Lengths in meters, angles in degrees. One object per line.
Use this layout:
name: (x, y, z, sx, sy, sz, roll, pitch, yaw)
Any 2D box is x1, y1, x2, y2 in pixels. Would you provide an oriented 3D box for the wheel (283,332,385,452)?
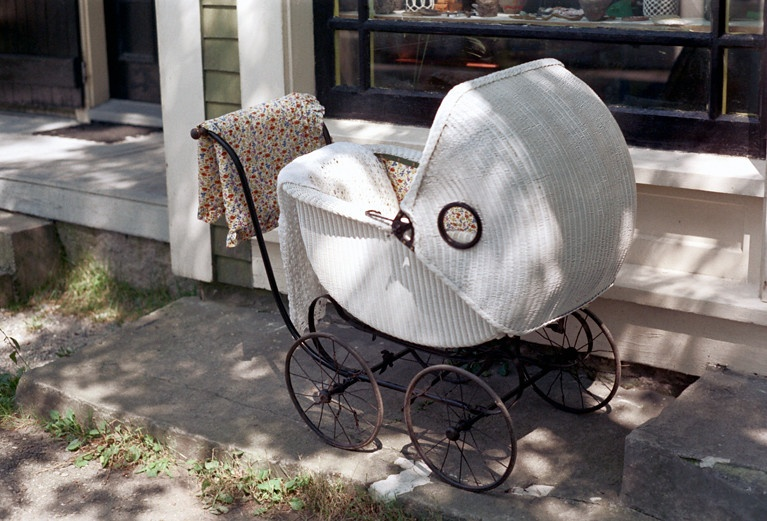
wheel: (-0.262, 0.636, 3.452, 0.572, 0.577, 0.157, -11, 7, 40)

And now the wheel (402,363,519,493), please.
wheel: (0.344, 0.788, 3.326, 0.435, 0.440, 0.094, 25, 27, 39)

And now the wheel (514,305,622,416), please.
wheel: (0.901, 0.493, 3.519, 0.302, 0.421, 0.458, -20, 43, -35)

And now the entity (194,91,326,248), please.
entity: (-0.577, -0.463, 3.539, 0.357, 0.619, 0.749, 28, 43, 36)

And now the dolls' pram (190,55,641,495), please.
dolls' pram: (0.094, -0.067, 3.669, 2.059, 1.748, 1.326, 14, 24, 38)
